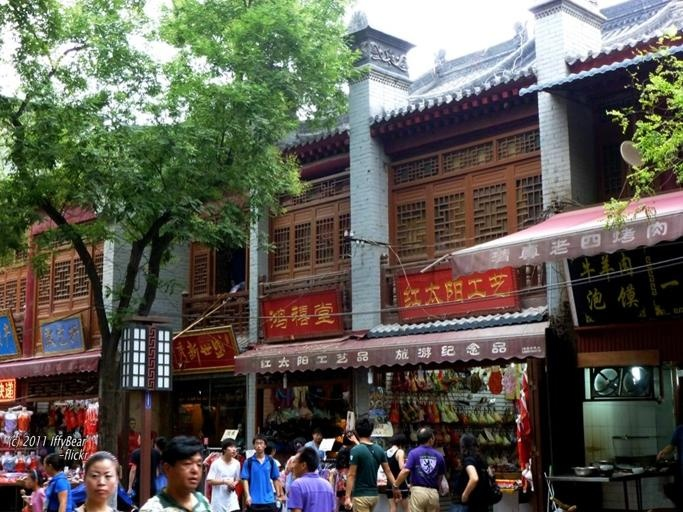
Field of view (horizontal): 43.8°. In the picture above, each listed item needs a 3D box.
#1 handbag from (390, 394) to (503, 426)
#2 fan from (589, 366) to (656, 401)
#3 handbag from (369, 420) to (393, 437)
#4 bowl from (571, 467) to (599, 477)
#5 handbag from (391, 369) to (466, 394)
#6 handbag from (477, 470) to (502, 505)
[{"bbox_3d":[2.145,3.313,18.115,2.222,0.617,0.343,2,-43,1],"label":"handbag"},{"bbox_3d":[5.402,2.477,16.473,1.448,0.621,0.297,2,-15,-25],"label":"fan"},{"bbox_3d":[0.825,3.565,17.477,0.408,0.285,0.404,-4,-14,-1],"label":"handbag"},{"bbox_3d":[4.254,3.758,14.794,0.414,0.162,0.275,-5,-14,1],"label":"bowl"},{"bbox_3d":[1.869,2.632,17.998,1.650,0.482,0.658,-6,-14,4],"label":"handbag"},{"bbox_3d":[2.096,3.278,12.113,0.248,0.545,0.569,-7,-14,13],"label":"handbag"}]
